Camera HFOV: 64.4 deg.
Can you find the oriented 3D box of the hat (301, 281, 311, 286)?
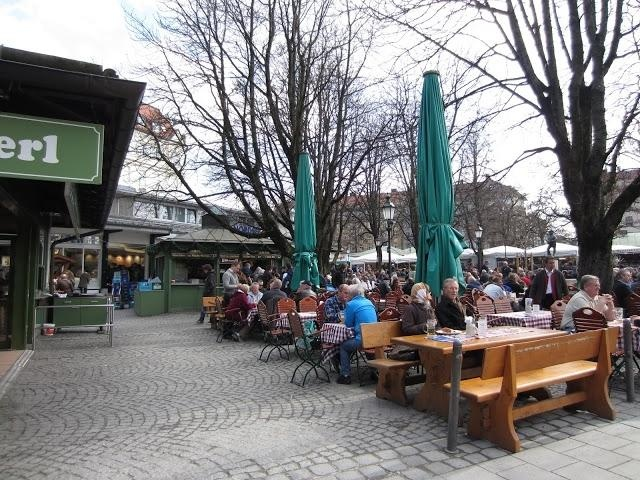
[{"bbox_3d":[-0.342,1.154,13.593,0.195,0.079,0.137,4,-1,-16],"label":"hat"}]

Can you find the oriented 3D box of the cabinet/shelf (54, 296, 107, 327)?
[{"bbox_3d":[-7.088,2.120,15.139,1.812,1.038,0.981,1,-9,-12],"label":"cabinet/shelf"}]

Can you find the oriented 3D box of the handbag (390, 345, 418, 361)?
[{"bbox_3d":[1.354,1.863,8.379,0.337,0.110,0.328,3,-2,-37],"label":"handbag"}]

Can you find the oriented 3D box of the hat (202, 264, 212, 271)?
[{"bbox_3d":[-4.718,1.137,21.209,0.307,0.346,0.360,11,6,-18],"label":"hat"}]

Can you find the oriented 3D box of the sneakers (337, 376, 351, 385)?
[{"bbox_3d":[0.448,2.598,9.459,0.119,0.164,0.256,2,-1,-31],"label":"sneakers"}]

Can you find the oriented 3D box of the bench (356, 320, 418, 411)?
[{"bbox_3d":[1.140,2.091,8.504,0.519,0.773,1.321,-9,-12,36],"label":"bench"}]
